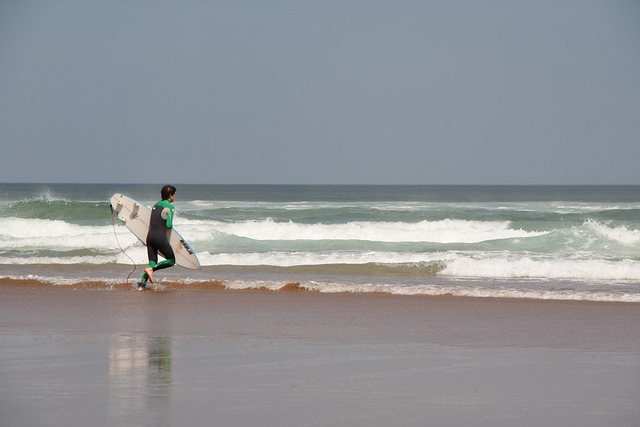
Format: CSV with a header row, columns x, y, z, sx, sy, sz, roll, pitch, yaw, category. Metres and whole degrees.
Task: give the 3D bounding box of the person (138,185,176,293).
x,y,z,sx,sy,sz,roll,pitch,yaw,category
-3.185,0.479,21.507,0.701,1.991,1.320,1,-20,-26,person
